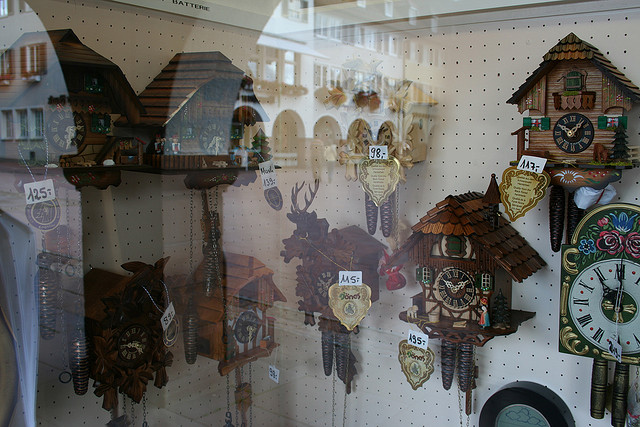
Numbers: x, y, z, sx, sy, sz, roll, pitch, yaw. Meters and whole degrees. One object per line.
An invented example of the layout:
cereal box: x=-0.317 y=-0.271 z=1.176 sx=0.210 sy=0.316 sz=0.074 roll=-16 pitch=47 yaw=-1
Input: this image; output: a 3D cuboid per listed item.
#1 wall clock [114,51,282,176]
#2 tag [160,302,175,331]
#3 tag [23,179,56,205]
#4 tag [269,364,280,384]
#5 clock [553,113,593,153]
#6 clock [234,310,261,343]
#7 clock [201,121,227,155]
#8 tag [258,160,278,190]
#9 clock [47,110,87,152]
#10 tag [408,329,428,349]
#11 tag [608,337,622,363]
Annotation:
wall clock: x=-0.632 y=-0.558 z=3.135 sx=0.502 sy=0.648 sz=0.677 roll=8 pitch=13 yaw=30
tag: x=-0.763 y=0.519 z=3.060 sx=0.012 sy=0.085 sz=0.126 roll=3 pitch=36 yaw=18
tag: x=-1.250 y=-0.102 z=2.717 sx=0.088 sy=0.077 sz=0.012 roll=-17 pitch=22 yaw=-35
tag: x=-0.262 y=0.913 z=3.486 sx=0.083 sy=0.123 sz=0.013 roll=22 pitch=35 yaw=20
clock: x=1.134 y=-0.363 z=2.723 sx=0.147 sy=0.192 sz=0.035 roll=4 pitch=5 yaw=32
clock: x=-0.385 y=0.603 z=3.265 sx=0.022 sy=0.178 sz=0.159 roll=8 pitch=6 yaw=42
clock: x=-0.538 y=-0.391 z=3.138 sx=0.031 sy=0.153 sz=0.136 roll=6 pitch=2 yaw=41
tag: x=-0.276 y=-0.213 z=3.281 sx=0.092 sy=0.179 sz=0.006 roll=-12 pitch=33 yaw=-6
clock: x=-1.138 y=-0.388 z=2.765 sx=0.184 sy=0.234 sz=0.024 roll=-5 pitch=36 yaw=-25
tag: x=0.499 y=0.635 z=3.084 sx=0.004 sy=0.093 sz=0.117 roll=-8 pitch=12 yaw=-43
tag: x=1.290 y=0.593 z=2.672 sx=0.007 sy=0.098 sz=0.086 roll=-11 pitch=22 yaw=-27
